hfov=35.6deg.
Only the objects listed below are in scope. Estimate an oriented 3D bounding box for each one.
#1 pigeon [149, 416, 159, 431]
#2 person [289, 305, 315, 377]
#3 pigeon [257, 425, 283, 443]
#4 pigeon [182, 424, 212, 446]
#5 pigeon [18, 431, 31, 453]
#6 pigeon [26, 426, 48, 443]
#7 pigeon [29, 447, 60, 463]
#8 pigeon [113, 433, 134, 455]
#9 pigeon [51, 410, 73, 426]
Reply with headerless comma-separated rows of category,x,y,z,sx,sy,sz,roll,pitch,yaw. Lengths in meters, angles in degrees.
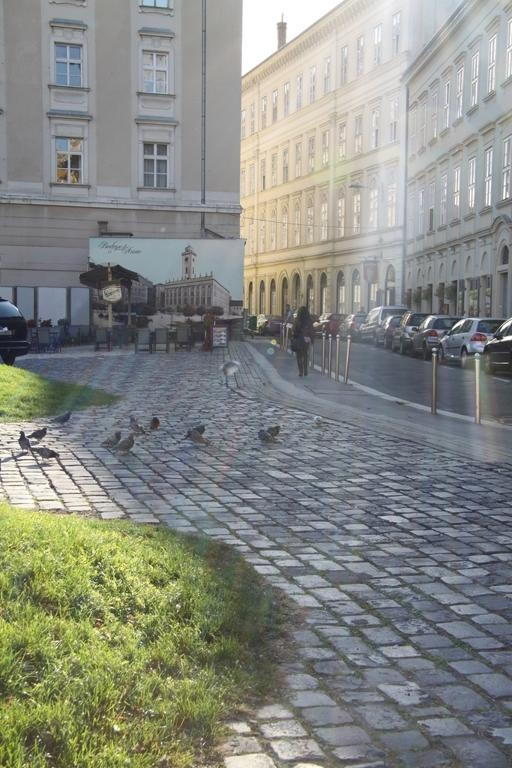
pigeon,-1.316,0.530,10.697,0.103,0.217,0.146,5,4,0
person,1.190,-1.154,21.015,0.542,1.828,1.220,5,5,3
pigeon,0.172,0.612,10.073,0.249,0.193,0.493,5,6,-1
pigeon,-0.671,0.629,9.548,0.235,0.110,0.246,-7,19,9
pigeon,-2.339,0.620,8.392,0.108,0.211,0.424,3,6,-18
pigeon,-2.354,0.558,8.841,0.255,0.208,0.146,5,8,17
pigeon,-2.087,0.694,8.081,0.357,0.177,0.144,4,2,30
pigeon,-1.388,0.646,8.767,0.268,0.316,0.148,2,-9,11
pigeon,-2.618,0.478,11.179,0.208,0.187,0.104,16,16,14
